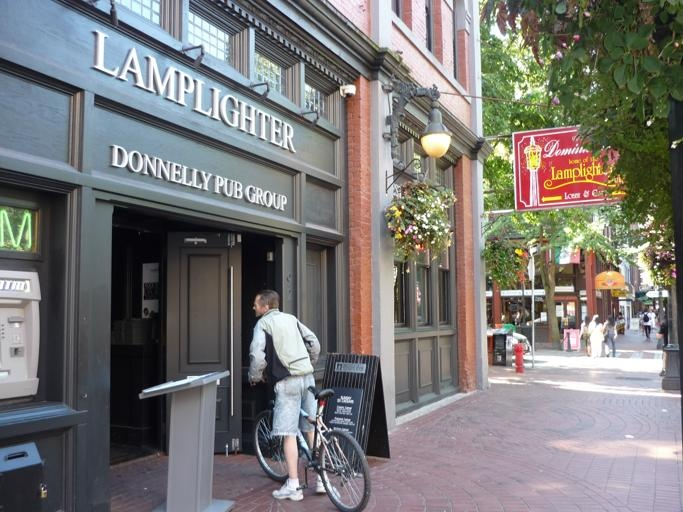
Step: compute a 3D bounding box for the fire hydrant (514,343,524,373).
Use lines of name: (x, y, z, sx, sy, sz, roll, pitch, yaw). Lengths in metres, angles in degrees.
fire hydrant: (5.281, 3.058, 18.713, 0.288, 0.823, 0.394, 1, -2, 4)

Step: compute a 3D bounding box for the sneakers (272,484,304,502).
sneakers: (-0.558, 2.539, 6.727, 0.343, 0.193, 0.135, 3, -6, 11)

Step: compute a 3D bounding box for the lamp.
lamp: (1.194, -2.363, 10.453, 1.005, 1.660, 1.828, 1, -2, 4)

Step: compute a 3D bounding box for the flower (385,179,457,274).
flower: (1.211, -0.667, 10.376, 1.206, 1.348, 1.154, 5, 22, -5)

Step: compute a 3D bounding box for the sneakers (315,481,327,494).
sneakers: (-0.231, 2.546, 6.816, 0.077, 0.125, 0.178, 0, -23, -1)
